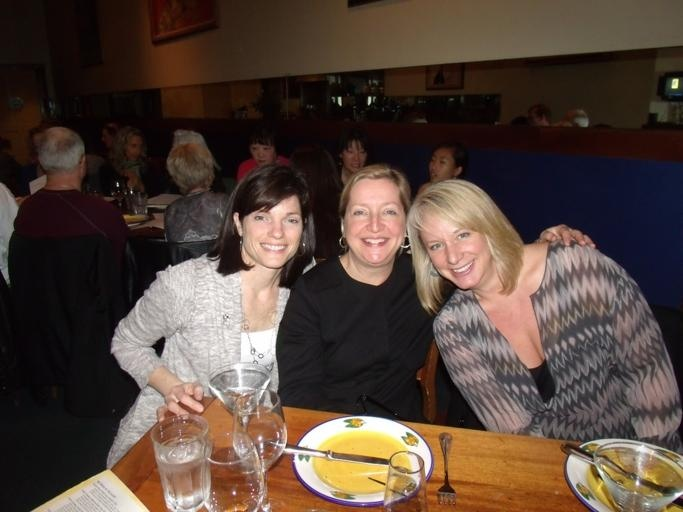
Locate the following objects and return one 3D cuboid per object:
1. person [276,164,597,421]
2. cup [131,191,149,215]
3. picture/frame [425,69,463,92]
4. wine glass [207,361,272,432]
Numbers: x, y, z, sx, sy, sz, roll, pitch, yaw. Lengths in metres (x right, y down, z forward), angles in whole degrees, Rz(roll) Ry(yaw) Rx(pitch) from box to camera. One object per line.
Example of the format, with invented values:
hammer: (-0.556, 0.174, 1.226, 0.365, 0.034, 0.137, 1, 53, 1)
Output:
person: (0.374, 0.200, 2.098, 0.917, 1.640, 0.562, -14, 36, -13)
cup: (-1.702, -0.433, 3.961, 0.134, 0.222, 0.134, 5, 25, -2)
picture/frame: (0.864, -1.460, 3.910, 0.199, 0.147, 0.021, 15, 40, 31)
wine glass: (-0.331, 0.424, 1.498, 0.160, 0.148, 0.182, -1, 20, -6)
